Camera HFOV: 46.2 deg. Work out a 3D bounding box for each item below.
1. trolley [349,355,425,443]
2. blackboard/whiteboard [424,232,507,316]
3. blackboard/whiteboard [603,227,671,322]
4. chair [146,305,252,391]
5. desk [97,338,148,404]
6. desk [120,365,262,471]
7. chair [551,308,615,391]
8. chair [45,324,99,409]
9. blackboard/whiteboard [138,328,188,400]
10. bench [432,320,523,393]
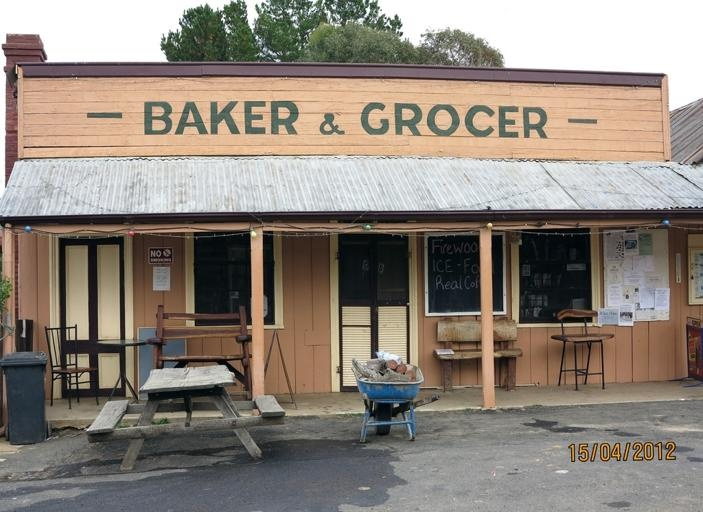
[{"bbox_3d":[0.559,2.232,12.690,1.014,1.202,0.900,-2,8,-1],"label":"trolley"},{"bbox_3d":[2.037,0.357,15.343,1.797,1.593,0.082,0,-7,-6],"label":"blackboard/whiteboard"},{"bbox_3d":[5.474,0.367,15.851,1.331,1.727,0.301,-3,8,-7],"label":"blackboard/whiteboard"},{"bbox_3d":[-2.588,1.464,14.539,1.814,1.611,1.390,5,0,-12],"label":"chair"},{"bbox_3d":[-4.145,1.858,14.646,0.895,1.326,0.769,5,1,-3],"label":"desk"},{"bbox_3d":[-2.378,2.325,12.103,1.995,1.225,1.107,-3,8,-10],"label":"desk"},{"bbox_3d":[4.306,1.707,15.478,1.110,1.472,0.849,-1,8,8],"label":"chair"},{"bbox_3d":[-5.012,1.926,14.767,0.825,1.333,0.862,-6,9,-26],"label":"chair"},{"bbox_3d":[-3.485,1.933,15.139,0.888,1.224,0.678,3,0,-6],"label":"blackboard/whiteboard"},{"bbox_3d":[2.311,1.808,15.339,1.593,1.300,0.895,-1,8,5],"label":"bench"}]
